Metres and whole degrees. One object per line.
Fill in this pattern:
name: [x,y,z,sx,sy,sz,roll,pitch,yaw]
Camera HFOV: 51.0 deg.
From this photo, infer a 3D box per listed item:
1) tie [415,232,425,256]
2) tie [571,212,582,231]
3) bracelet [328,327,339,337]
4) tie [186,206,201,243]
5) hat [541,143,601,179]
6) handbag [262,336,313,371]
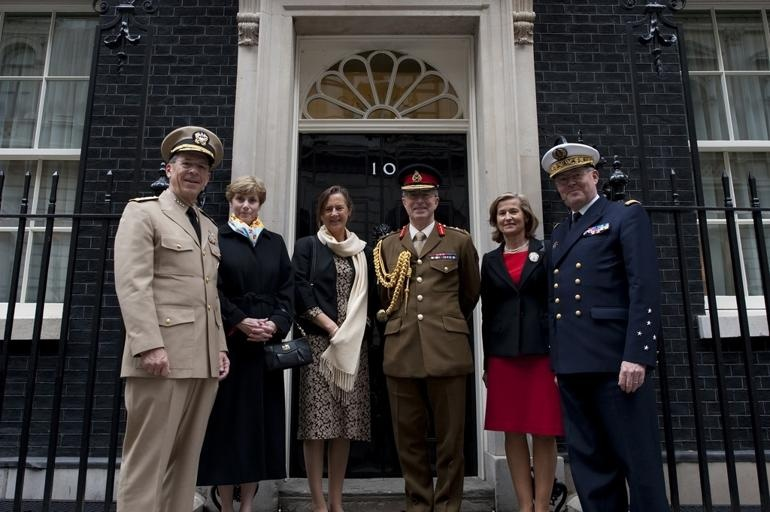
tie: [0.296,-0.120,6.894,0.057,0.226,0.064,3,-34,14]
tie: [1.517,-0.284,6.459,0.085,0.122,0.040,-5,-20,33]
bracelet: [-0.426,0.628,6.773,0.063,0.047,0.065,-45,1,44]
tie: [-1.499,-0.261,6.319,0.074,0.363,0.096,-19,-48,0]
hat: [1.512,-0.750,6.531,0.455,0.206,0.485,-13,-17,15]
handbag: [-0.804,0.788,6.577,0.300,0.210,0.082,-10,-23,-9]
